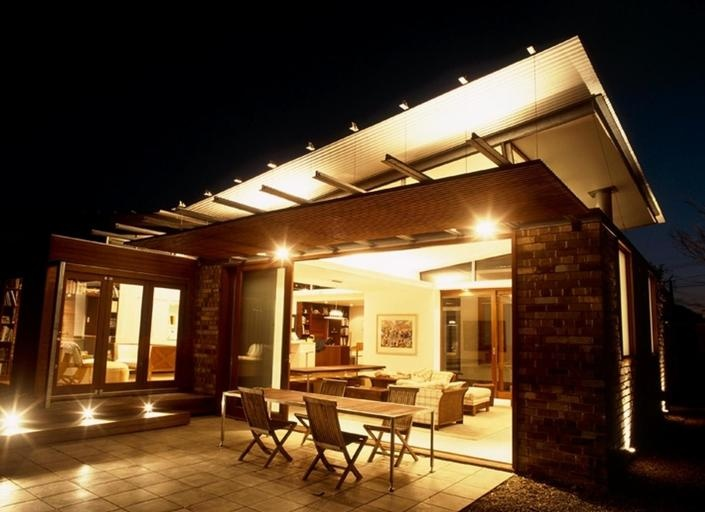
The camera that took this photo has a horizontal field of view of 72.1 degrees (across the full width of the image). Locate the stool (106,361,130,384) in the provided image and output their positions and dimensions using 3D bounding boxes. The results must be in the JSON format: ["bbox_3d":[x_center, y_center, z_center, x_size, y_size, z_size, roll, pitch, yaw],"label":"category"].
[{"bbox_3d":[-4.968,2.454,10.209,0.435,0.301,0.425,1,-6,-12],"label":"stool"}]

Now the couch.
[{"bbox_3d":[1.610,2.947,9.847,1.462,0.881,0.856,-8,-10,41],"label":"couch"}]

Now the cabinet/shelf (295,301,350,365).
[{"bbox_3d":[-1.334,3.168,20.014,0.818,2.394,2.535,-6,-11,25],"label":"cabinet/shelf"}]

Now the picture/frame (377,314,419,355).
[{"bbox_3d":[1.402,2.495,15.410,1.648,1.350,0.111,-7,-11,42],"label":"picture/frame"}]

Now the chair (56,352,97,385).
[{"bbox_3d":[-5.589,2.167,9.763,0.564,0.737,0.765,-3,-10,28],"label":"chair"}]
